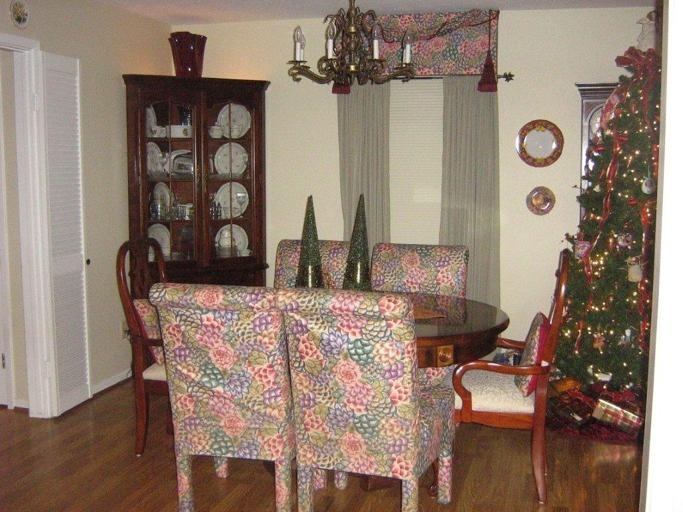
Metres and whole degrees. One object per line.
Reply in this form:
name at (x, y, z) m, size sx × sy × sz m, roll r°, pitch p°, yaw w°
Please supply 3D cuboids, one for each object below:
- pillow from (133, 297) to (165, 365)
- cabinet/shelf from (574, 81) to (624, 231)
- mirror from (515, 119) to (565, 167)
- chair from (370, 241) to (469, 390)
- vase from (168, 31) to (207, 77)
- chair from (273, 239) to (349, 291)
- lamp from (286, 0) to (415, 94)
pillow at (-1.242, 0.434, 3.937) m, size 0.073 × 0.248 × 0.260 m, roll -28°, pitch -4°, yaw 2°
cabinet/shelf at (2.039, -0.775, 4.782) m, size 0.325 × 1.328 × 0.273 m, roll 1°, pitch -31°, yaw 20°
mirror at (1.659, -0.947, 5.088) m, size 0.378 × 0.377 × 0.092 m, roll 2°, pitch 11°, yaw 21°
chair at (0.514, 0.629, 4.374) m, size 0.768 × 1.369 × 0.870 m, roll 2°, pitch 41°, yaw 8°
vase at (-1.306, -1.721, 5.208) m, size 0.302 × 0.370 × 0.326 m, roll 6°, pitch 11°, yaw 28°
chair at (-0.332, 0.092, 4.679) m, size 0.601 × 0.454 × 0.469 m, roll 0°, pitch -6°, yaw -22°
lamp at (0.044, -1.351, 3.829) m, size 0.686 × 0.609 × 1.360 m, roll -2°, pitch 10°, yaw -1°
